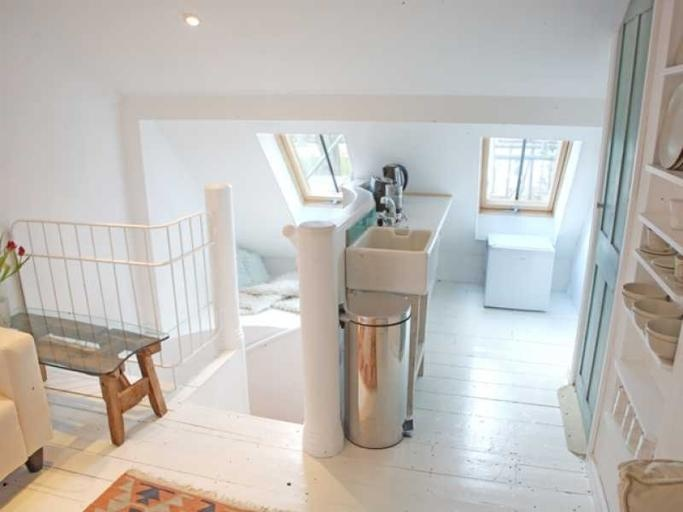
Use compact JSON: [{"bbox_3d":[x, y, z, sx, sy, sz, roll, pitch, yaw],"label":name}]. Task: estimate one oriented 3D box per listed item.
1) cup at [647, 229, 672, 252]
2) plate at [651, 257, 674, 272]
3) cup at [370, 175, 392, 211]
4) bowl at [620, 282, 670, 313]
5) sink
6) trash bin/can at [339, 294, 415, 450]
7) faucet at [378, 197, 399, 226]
[{"bbox_3d":[1.340,-0.055,2.125,0.088,0.070,0.095,-7,41,6],"label":"cup"},{"bbox_3d":[1.310,0.026,2.062,0.076,0.040,0.113,9,22,30],"label":"plate"},{"bbox_3d":[0.304,-0.403,3.972,0.180,0.202,0.311,-4,60,9],"label":"cup"},{"bbox_3d":[1.299,0.163,2.194,0.120,0.057,0.121,-6,27,3],"label":"bowl"},{"bbox_3d":[0.322,0.039,3.274,0.457,0.264,0.629,5,29,13],"label":"sink"},{"bbox_3d":[0.211,0.715,3.112,0.426,0.852,0.408,-2,19,2],"label":"trash bin/can"},{"bbox_3d":[0.356,-0.346,3.825,0.154,0.218,0.160,-1,19,5],"label":"faucet"}]
